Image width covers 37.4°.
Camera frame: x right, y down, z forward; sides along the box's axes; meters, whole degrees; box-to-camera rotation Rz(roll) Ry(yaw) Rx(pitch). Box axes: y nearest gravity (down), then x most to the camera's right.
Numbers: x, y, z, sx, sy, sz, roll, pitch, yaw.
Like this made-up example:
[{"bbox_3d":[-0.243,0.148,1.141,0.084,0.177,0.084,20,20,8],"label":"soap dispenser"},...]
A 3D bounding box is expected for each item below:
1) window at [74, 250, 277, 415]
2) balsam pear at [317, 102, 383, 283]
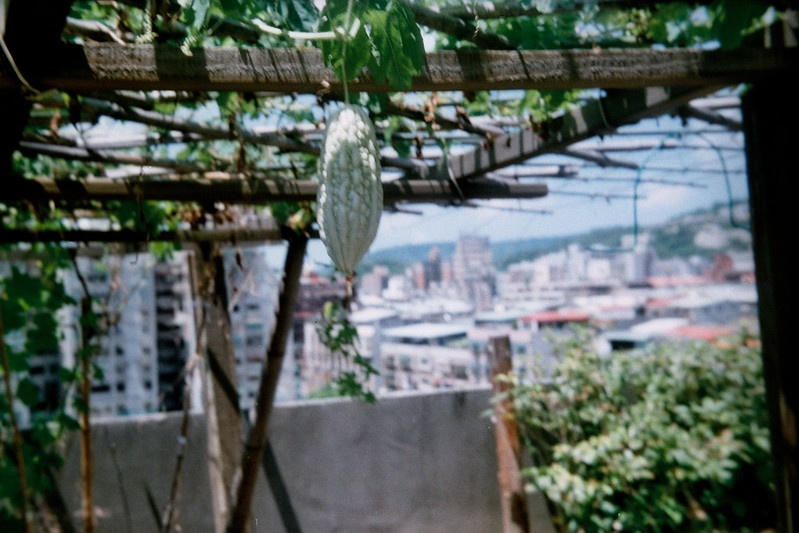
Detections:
[{"bbox_3d":[-1.267,0.397,6.710,0.909,0.906,0.512,-1,2,-3],"label":"window"},{"bbox_3d":[-0.207,-0.308,4.861,0.280,0.706,0.133,-6,5,-5],"label":"balsam pear"}]
